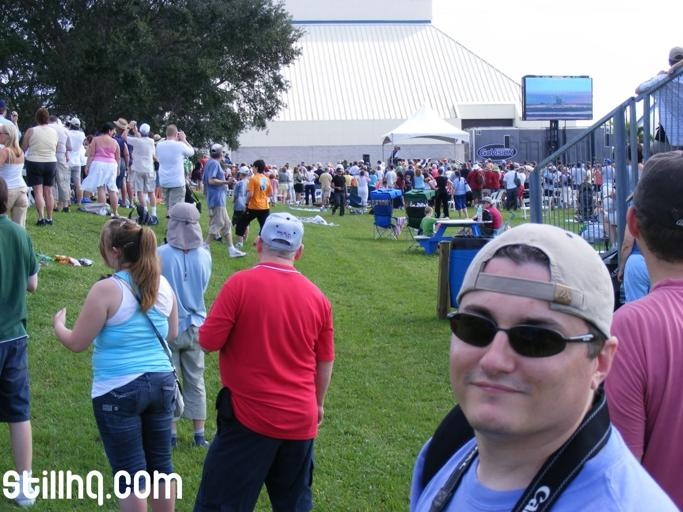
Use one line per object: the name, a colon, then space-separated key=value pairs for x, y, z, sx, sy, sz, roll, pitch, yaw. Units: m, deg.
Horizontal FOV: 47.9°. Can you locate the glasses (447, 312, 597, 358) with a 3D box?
glasses: x=0.612 y=0.264 z=2.596 sx=0.502 sy=0.118 sz=0.120 roll=5 pitch=10 yaw=12

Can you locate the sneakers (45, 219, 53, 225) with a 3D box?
sneakers: x=-4.805 y=-0.556 z=12.609 sx=0.084 sy=0.112 sz=0.224 roll=-1 pitch=1 yaw=-23

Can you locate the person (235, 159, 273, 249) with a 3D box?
person: x=-1.640 y=-1.000 z=14.485 sx=0.593 sy=1.735 sz=0.541 roll=2 pitch=18 yaw=-19

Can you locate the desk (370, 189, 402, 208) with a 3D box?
desk: x=1.139 y=-1.651 z=20.576 sx=0.738 sy=0.497 sz=1.440 roll=1 pitch=0 yaw=10

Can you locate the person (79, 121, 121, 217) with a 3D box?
person: x=-4.433 y=-1.599 z=14.189 sx=0.643 sy=1.680 sz=1.041 roll=-1 pitch=10 yaw=-18

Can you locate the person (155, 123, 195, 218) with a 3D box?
person: x=-3.083 y=-1.449 z=14.045 sx=0.553 sy=1.819 sz=0.471 roll=1 pitch=4 yaw=21

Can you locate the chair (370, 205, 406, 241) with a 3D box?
chair: x=1.216 y=-0.886 z=19.894 sx=0.686 sy=0.929 sz=0.704 roll=-2 pitch=6 yaw=-1

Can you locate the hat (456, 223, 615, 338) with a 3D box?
hat: x=0.736 y=0.084 z=2.813 sx=0.522 sy=0.393 sz=0.579 roll=12 pitch=-8 yaw=6

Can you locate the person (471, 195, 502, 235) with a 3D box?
person: x=2.867 y=-0.595 z=15.324 sx=0.474 sy=0.941 sz=0.418 roll=13 pitch=-10 yaw=30

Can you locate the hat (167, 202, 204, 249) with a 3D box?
hat: x=-1.245 y=-0.257 z=6.178 sx=0.308 sy=0.378 sz=0.301 roll=11 pitch=14 yaw=38

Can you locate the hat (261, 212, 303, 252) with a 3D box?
hat: x=-0.346 y=-0.114 z=4.767 sx=0.239 sy=0.214 sz=0.422 roll=16 pitch=2 yaw=3

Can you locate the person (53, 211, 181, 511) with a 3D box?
person: x=-1.389 y=0.672 z=4.883 sx=0.675 sy=1.755 sz=0.657 roll=-1 pitch=9 yaw=-14

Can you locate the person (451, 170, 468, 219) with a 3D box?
person: x=3.775 y=-1.984 z=24.753 sx=0.399 sy=1.534 sz=0.497 roll=-8 pitch=10 yaw=-13

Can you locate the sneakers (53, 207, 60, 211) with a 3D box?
sneakers: x=-5.441 y=-0.883 z=14.690 sx=0.099 sy=0.096 sz=0.139 roll=1 pitch=-4 yaw=-25

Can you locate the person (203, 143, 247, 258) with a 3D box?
person: x=-2.277 y=-1.018 z=14.146 sx=0.852 sy=2.067 sz=0.649 roll=1 pitch=0 yaw=-37

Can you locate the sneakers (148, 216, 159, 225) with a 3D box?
sneakers: x=-3.613 y=-0.674 z=14.671 sx=0.096 sy=0.139 sz=0.170 roll=-3 pitch=11 yaw=-43
